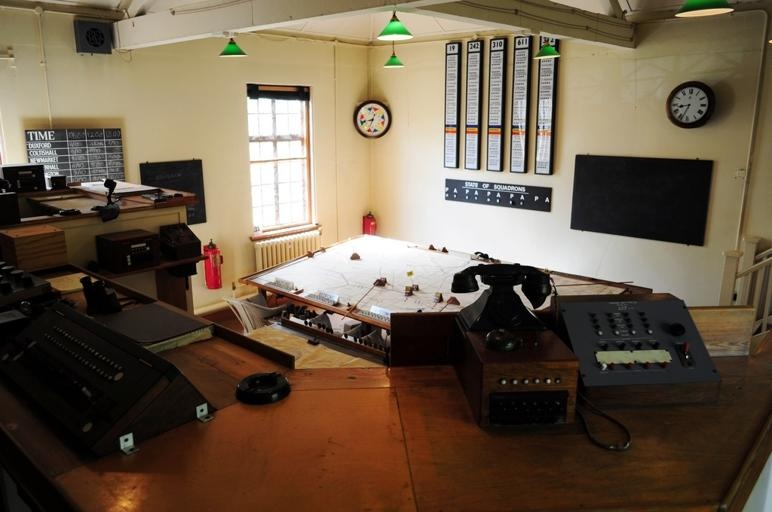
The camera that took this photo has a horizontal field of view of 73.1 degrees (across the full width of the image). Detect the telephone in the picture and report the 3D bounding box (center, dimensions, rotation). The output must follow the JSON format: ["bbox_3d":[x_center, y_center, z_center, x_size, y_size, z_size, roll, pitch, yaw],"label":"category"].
[{"bbox_3d":[0.572,0.161,2.596,0.496,0.281,0.323,-1,20,2],"label":"telephone"}]

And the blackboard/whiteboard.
[{"bbox_3d":[-3.666,-1.205,6.262,0.149,0.671,1.075,10,19,39],"label":"blackboard/whiteboard"}]

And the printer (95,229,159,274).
[{"bbox_3d":[-2.279,-0.059,4.646,0.370,0.348,0.523,9,15,32],"label":"printer"}]

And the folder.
[{"bbox_3d":[-1.309,0.389,2.934,0.489,0.061,0.295,10,17,24],"label":"folder"}]

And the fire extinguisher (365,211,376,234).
[{"bbox_3d":[-0.291,-0.604,9.545,0.212,0.421,0.246,6,17,28],"label":"fire extinguisher"}]

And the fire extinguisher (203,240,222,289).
[{"bbox_3d":[-2.494,0.157,7.525,0.250,0.748,0.312,-12,18,-32],"label":"fire extinguisher"}]

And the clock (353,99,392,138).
[{"bbox_3d":[-0.222,-2.392,9.119,0.629,0.597,0.622,2,17,33],"label":"clock"}]

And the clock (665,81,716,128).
[{"bbox_3d":[3.819,-1.896,6.484,0.632,0.645,0.117,5,9,44],"label":"clock"}]

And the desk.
[{"bbox_3d":[0.216,0.305,5.960,4.758,0.976,2.591,13,16,41],"label":"desk"}]

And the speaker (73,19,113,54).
[{"bbox_3d":[-3.399,-2.607,6.195,0.471,0.400,0.172,8,13,10],"label":"speaker"}]
